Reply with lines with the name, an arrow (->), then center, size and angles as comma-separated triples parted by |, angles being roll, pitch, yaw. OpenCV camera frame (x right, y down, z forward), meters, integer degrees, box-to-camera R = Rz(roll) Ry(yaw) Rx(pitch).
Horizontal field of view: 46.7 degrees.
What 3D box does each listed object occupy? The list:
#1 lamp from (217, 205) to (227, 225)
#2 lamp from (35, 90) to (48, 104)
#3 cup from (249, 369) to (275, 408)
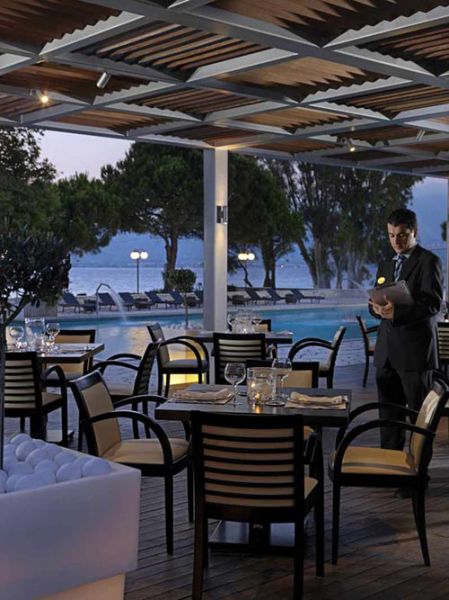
lamp -> -0.045, -1.280, 7.758 | 0.194, 0.283, 0.054 | 4, -6, -44
lamp -> -1.802, -2.012, 5.118 | 0.092, 0.109, 0.200 | 5, -4, -5
cup -> 0.184, 0.438, 2.598 | 0.165, 0.177, 0.172 | 1, -1, 0
